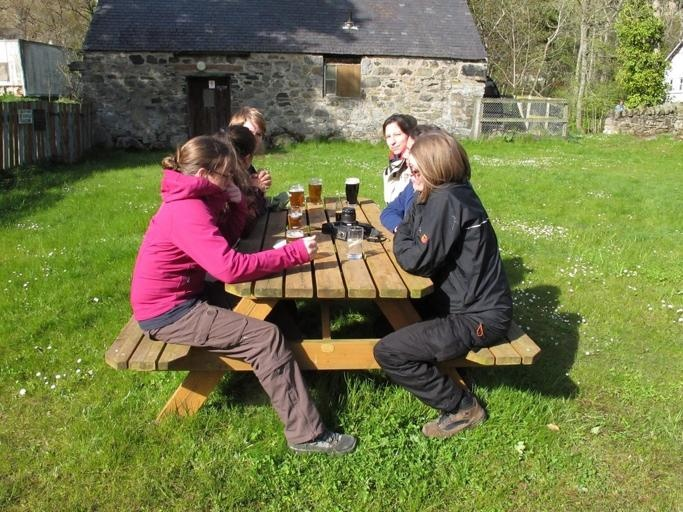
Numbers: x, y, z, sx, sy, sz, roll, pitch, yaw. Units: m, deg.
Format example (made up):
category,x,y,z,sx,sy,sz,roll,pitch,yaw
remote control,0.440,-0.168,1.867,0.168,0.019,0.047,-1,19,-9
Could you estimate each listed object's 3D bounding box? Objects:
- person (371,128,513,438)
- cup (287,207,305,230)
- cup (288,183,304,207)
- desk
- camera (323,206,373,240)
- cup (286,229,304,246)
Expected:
category,x,y,z,sx,sy,sz,roll,pitch,yaw
person,0.690,0.189,3.571,0.886,1.980,0.513,-2,14,5
cup,-0.357,-0.296,4.166,0.156,0.193,0.164,0,10,0
cup,-0.389,-0.532,4.643,0.176,0.287,0.170,-1,7,0
desk,-0.267,0.421,3.791,1.411,0.756,1.500,0,17,1
camera,0.046,-0.257,4.279,0.249,0.155,0.351,0,13,-3
cup,-0.361,-0.146,4.062,0.114,0.092,0.120,0,3,0
